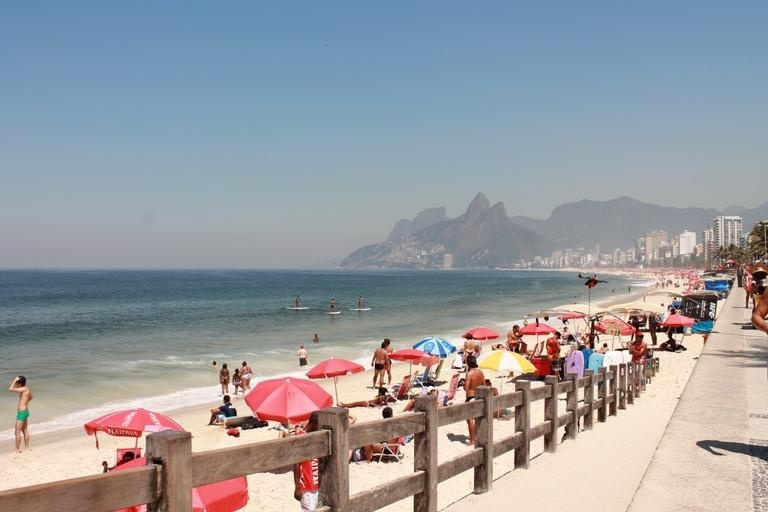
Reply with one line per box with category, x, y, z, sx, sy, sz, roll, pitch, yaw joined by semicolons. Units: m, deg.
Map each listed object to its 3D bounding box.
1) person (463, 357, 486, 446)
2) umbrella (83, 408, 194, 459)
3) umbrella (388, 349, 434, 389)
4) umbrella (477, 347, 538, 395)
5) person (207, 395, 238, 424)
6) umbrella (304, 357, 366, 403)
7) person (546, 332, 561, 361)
person;2.033;3.559;14.346;0.745;2.035;0.734;-1;-9;26
umbrella;-6.428;4.329;14.750;2.164;1.003;0.916;-1;0;20
umbrella;1.089;4.229;23.037;1.090;0.894;1.013;9;-1;-26
umbrella;3.424;3.051;16.611;1.719;0.991;0.964;-1;0;-12
person;-5.858;5.588;21.134;1.060;1.106;0.559;-1;0;34
umbrella;-1.741;4.526;20.790;2.153;1.772;1.901;-6;2;10
person;6.627;3.511;22.659;0.452;0.991;1.165;-1;-1;15
